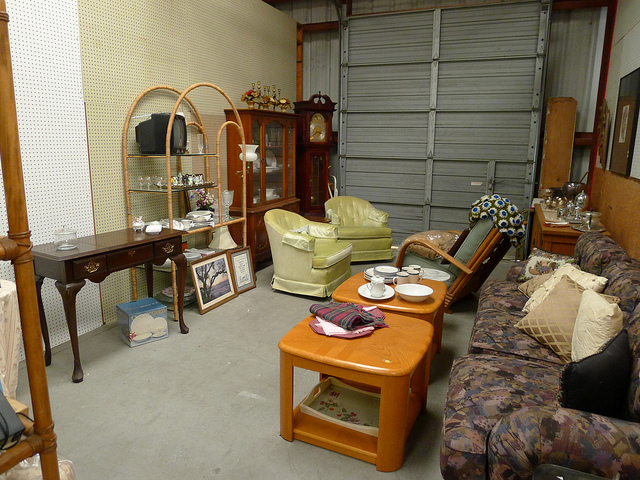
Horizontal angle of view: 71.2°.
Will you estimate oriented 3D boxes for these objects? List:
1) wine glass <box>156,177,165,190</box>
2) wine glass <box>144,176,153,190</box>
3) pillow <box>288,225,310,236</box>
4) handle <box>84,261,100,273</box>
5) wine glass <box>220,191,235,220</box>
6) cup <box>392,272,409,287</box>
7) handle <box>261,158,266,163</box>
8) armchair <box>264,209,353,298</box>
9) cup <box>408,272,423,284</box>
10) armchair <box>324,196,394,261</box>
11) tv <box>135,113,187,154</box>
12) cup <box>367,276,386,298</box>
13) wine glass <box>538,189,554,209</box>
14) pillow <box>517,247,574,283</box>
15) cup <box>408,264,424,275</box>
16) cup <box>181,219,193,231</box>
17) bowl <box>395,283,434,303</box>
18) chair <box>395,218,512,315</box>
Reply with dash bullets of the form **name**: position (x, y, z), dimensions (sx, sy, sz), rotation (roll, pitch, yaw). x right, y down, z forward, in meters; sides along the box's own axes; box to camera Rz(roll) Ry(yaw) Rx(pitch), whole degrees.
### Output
- **wine glass**: position (-1.458, -0.525, 4.118), dimensions (0.097, 0.118, 0.102), rotation (0, 12, 3)
- **wine glass**: position (-1.559, -0.525, 4.091), dimensions (0.078, 0.103, 0.059), rotation (8, 17, 32)
- **pillow**: position (-0.197, -0.114, 5.096), dimensions (0.133, 0.123, 0.041), rotation (0, -22, -34)
- **handle**: position (-1.615, 0.186, 3.165), dimensions (0.006, 0.057, 0.078), rotation (-1, 9, 17)
- **wine glass**: position (-0.972, -0.376, 4.755), dimensions (0.116, 0.311, 0.304), rotation (-3, 14, -8)
- **cup**: position (0.629, 0.304, 3.495), dimensions (0.114, 0.120, 0.077), rotation (-3, 11, -18)
- **handle**: position (-0.672, -0.957, 5.321), dimensions (0.055, 0.059, 0.013), rotation (5, -9, -16)
- **armchair**: position (-0.090, 0.120, 5.008), dimensions (0.887, 0.940, 0.986), rotation (6, 15, 20)
- **cup**: position (0.756, 0.298, 3.510), dimensions (0.107, 0.117, 0.067), rotation (0, 4, 10)
- **armchair**: position (0.493, -0.224, 6.182), dimensions (0.735, 0.896, 0.918), rotation (-3, 11, -18)
- **tv**: position (-1.435, -0.987, 4.177), dimensions (0.513, 0.378, 0.530), rotation (-4, 10, -7)
- **cup**: position (0.419, 0.330, 3.319), dimensions (0.124, 0.134, 0.203), rotation (0, 14, 5)
- **wine glass**: position (2.703, -0.512, 5.437), dimensions (0.158, 0.213, 0.163), rotation (-5, 8, -21)
- **pillow**: position (1.830, 0.200, 3.670), dimensions (0.283, 0.328, 0.471), rotation (-7, 12, -39)
- **cup**: position (0.780, 0.240, 3.633), dimensions (0.084, 0.116, 0.119), rotation (-3, 6, -15)
- **cup**: position (-1.246, -0.147, 4.224), dimensions (0.098, 0.049, 0.100), rotation (0, 14, 0)
- **bowl**: position (0.680, 0.391, 3.249), dimensions (0.249, 0.095, 0.216), rotation (0, 14, 4)
- **chair**: position (1.292, 0.074, 4.519), dimensions (1.078, 0.987, 0.798), rotation (13, 29, 28)
